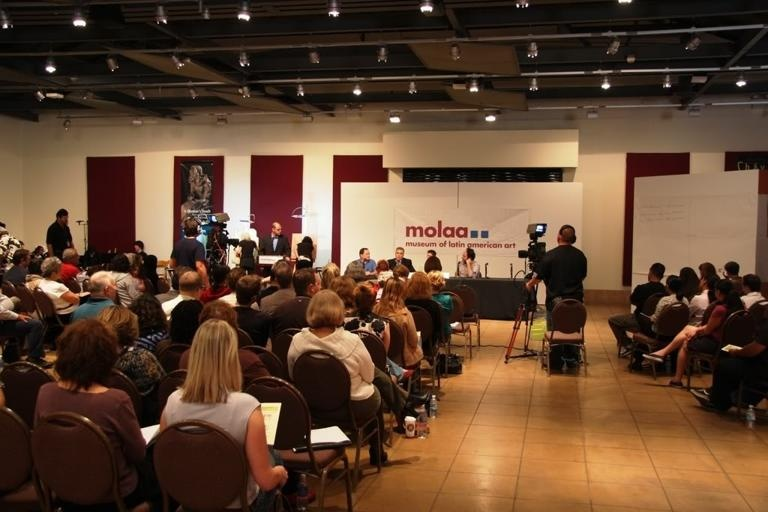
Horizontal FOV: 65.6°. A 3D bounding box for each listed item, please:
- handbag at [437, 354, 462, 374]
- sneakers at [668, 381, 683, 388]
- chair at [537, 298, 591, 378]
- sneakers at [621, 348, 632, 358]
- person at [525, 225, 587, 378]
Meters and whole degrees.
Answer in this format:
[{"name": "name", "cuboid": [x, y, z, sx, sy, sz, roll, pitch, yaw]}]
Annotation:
[{"name": "handbag", "cuboid": [0.991, 1.613, 9.178, 0.382, 0.287, 0.352, -1, -3, 25]}, {"name": "sneakers", "cuboid": [4.208, 1.831, 8.546, 0.190, 0.074, 0.075, 4, 6, 42]}, {"name": "chair", "cuboid": [2.823, 1.207, 9.253, 0.646, 1.233, 0.939, 4, 10, 16]}, {"name": "sneakers", "cuboid": [4.139, 1.653, 10.162, 0.112, 0.141, 0.344, -8, -16, 15]}, {"name": "person", "cuboid": [2.903, 0.646, 9.932, 0.886, 2.429, 0.833, -4, 18, -4]}]
